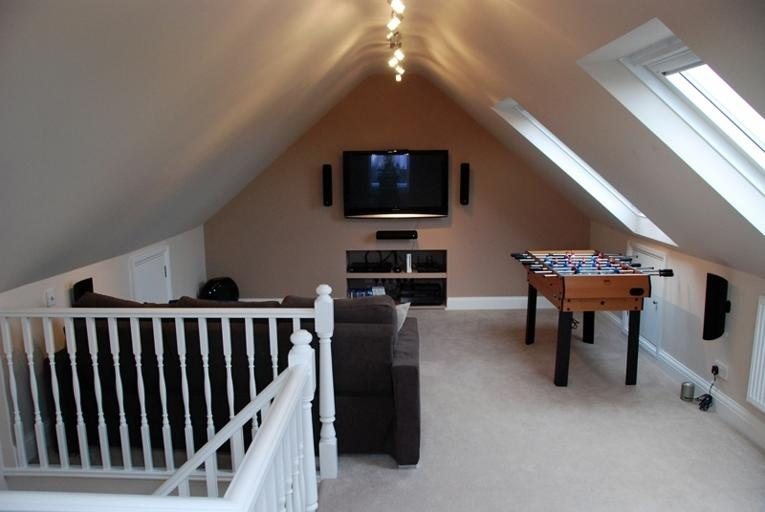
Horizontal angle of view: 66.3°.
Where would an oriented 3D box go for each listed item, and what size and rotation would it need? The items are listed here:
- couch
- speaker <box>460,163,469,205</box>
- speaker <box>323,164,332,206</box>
[{"bbox_3d":[-1.135,1.026,4.821,2.847,1.451,0.447,-2,0,1],"label":"couch"},{"bbox_3d":[1.136,-0.977,8.130,0.145,0.549,0.172,-2,0,6],"label":"speaker"},{"bbox_3d":[-0.777,-0.973,8.173,0.160,0.578,0.184,-2,0,-5],"label":"speaker"}]
